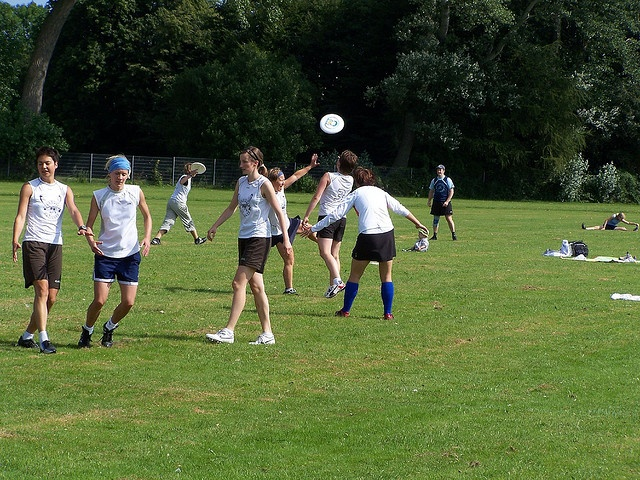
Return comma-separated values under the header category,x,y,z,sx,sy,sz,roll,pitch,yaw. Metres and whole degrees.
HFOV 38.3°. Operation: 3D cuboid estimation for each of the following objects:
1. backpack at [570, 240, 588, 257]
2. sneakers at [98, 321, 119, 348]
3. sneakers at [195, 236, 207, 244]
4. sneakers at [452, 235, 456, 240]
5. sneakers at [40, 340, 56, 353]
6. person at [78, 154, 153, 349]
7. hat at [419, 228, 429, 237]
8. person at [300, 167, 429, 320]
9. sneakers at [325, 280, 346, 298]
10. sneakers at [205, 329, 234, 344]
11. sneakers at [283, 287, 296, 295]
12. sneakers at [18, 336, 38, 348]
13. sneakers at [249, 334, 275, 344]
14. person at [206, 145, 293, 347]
category,x,y,z,sx,sy,sz,roll,pitch,yaw
backpack,6.181,0.183,22.037,0.320,0.404,0.402,6,-16,9
sneakers,-3.074,1.347,13.293,0.201,0.400,0.285,-2,11,-26
sneakers,-2.989,-0.010,22.791,0.206,0.068,0.143,-13,-12,3
sneakers,3.628,-0.066,24.965,0.117,0.120,0.115,1,-8,5
sneakers,-3.835,1.482,12.920,0.220,0.192,0.180,-5,16,-20
person,-3.002,0.128,13.335,1.051,2.733,1.189,-2,15,-10
hat,1.978,-0.149,17.722,0.132,0.147,0.168,8,32,-7
person,0.727,0.048,15.059,1.141,2.382,0.777,3,15,10
sneakers,0.210,0.908,16.544,0.468,0.181,0.225,-33,-60,30
sneakers,-1.455,1.408,13.509,0.470,0.221,0.169,5,-4,-5
sneakers,-0.577,0.932,16.803,0.098,0.108,0.244,0,-3,-43
sneakers,-4.179,1.438,13.126,0.355,0.151,0.129,3,11,6
sneakers,-0.868,1.459,13.634,0.410,0.168,0.148,2,-1,-3
person,-1.040,0.035,13.850,1.167,2.916,1.403,0,15,-3
